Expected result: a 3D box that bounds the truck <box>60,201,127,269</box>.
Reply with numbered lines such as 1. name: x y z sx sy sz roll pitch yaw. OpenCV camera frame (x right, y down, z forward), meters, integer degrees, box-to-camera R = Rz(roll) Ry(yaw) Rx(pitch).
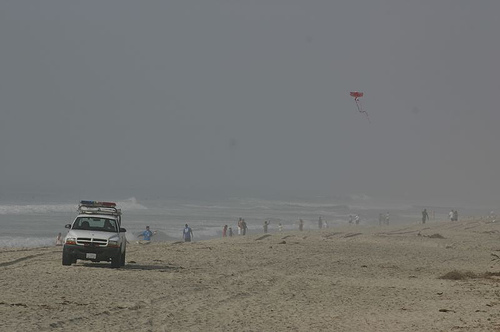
1. truck: -6.900 3.082 25.544 2.606 2.813 2.093 1 0 -16
